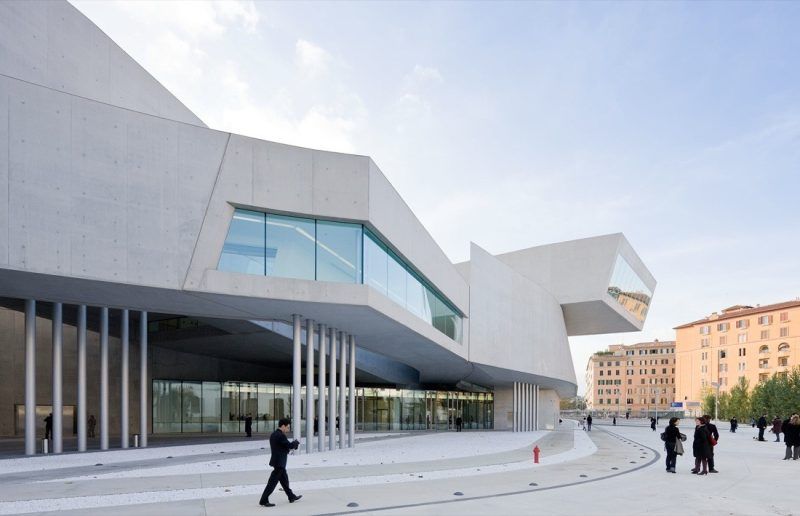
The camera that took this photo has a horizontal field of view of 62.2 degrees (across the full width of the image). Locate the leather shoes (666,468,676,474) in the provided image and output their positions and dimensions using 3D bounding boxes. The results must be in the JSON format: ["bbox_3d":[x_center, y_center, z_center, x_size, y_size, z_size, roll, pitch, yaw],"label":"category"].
[{"bbox_3d":[10.006,7.777,24.410,0.317,0.176,0.296,-9,-20,20],"label":"leather shoes"}]

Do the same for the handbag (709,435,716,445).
[{"bbox_3d":[11.581,6.692,24.503,0.165,0.439,0.333,-15,-17,22],"label":"handbag"}]
